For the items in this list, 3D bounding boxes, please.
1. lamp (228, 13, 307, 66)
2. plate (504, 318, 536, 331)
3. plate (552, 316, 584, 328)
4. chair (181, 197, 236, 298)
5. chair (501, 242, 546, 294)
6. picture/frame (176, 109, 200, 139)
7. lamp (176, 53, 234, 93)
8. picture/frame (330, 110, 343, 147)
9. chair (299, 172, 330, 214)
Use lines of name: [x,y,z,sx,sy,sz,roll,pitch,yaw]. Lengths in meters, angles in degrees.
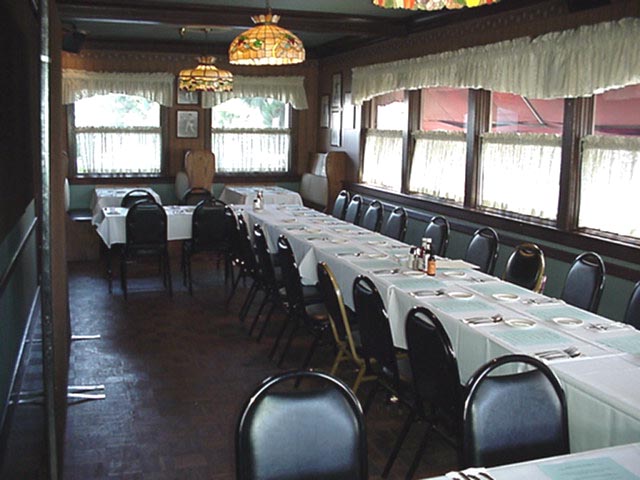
lamp: [-0.503,-1.793,4.890,0.560,0.343,0.589,-1,12,-6]
plate: [1.278,0.535,3.313,0.196,0.022,0.139,4,13,14]
plate: [1.610,0.526,3.372,0.172,0.022,0.144,-8,15,-33]
chair: [-1.452,0.073,6.707,0.643,1.195,1.951,-3,13,-15]
chair: [1.842,0.244,4.585,0.385,0.480,0.313,-4,7,-43]
picture/frame: [-2.660,-2.348,10.416,0.519,0.696,0.071,-2,9,-12]
lamp: [-1.606,-2.278,7.535,0.717,0.458,0.753,0,13,-6]
picture/frame: [0.335,-2.212,10.255,0.086,0.974,0.671,0,6,-20]
chair: [-0.071,-0.896,9.959,0.306,0.613,0.898,1,12,-21]
